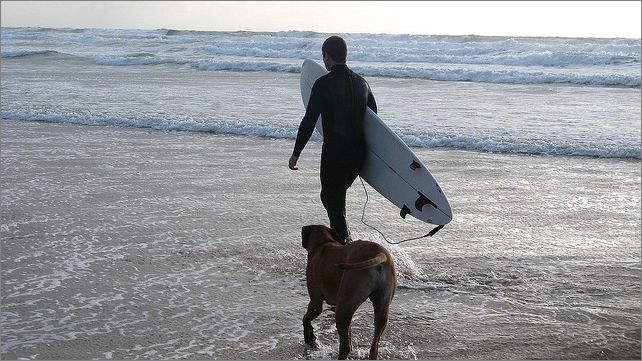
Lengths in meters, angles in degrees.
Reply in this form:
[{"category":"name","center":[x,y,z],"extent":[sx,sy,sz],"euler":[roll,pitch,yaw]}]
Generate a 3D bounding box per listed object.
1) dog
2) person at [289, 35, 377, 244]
[{"category":"dog","center":[0.288,1.413,6.399],"extent":[0.673,1.507,1.179],"euler":[-6,19,-32]},{"category":"person","center":[0.148,-0.572,7.333],"extent":[0.945,2.862,0.762],"euler":[9,18,10]}]
